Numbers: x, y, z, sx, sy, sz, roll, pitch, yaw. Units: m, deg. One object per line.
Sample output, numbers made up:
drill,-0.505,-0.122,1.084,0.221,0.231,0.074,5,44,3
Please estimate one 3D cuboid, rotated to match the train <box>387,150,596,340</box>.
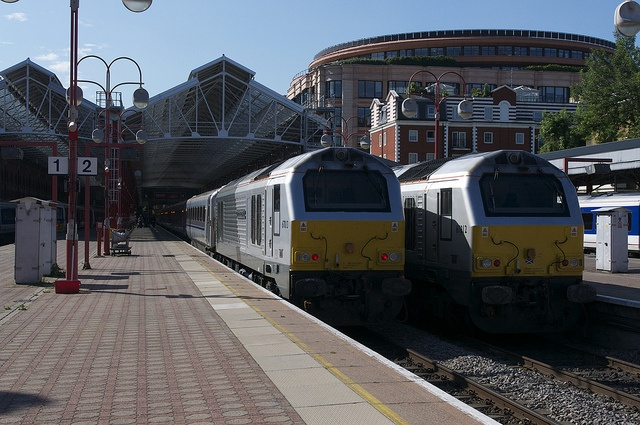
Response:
train,4.152,0.806,20.194,3.339,4.599,11.353,2,-2,-11
